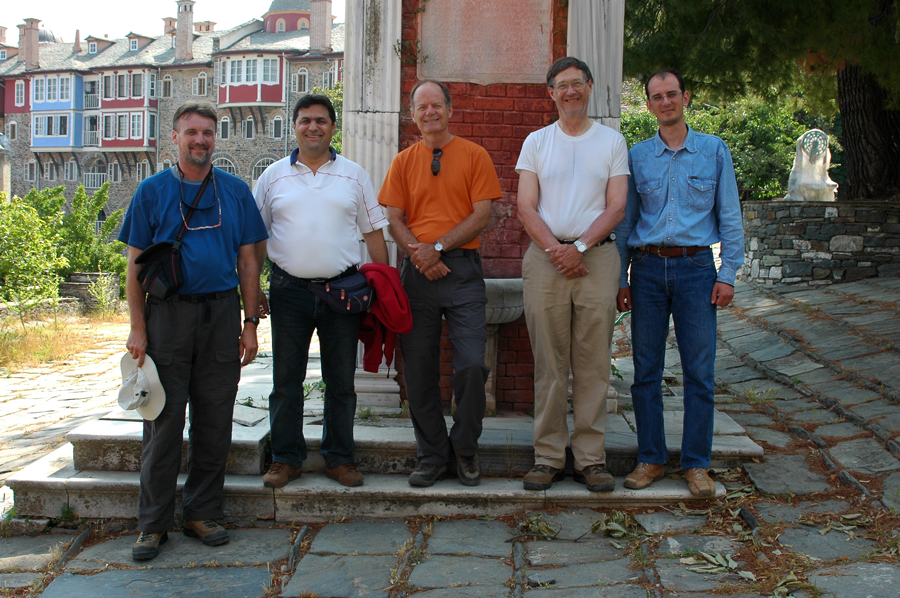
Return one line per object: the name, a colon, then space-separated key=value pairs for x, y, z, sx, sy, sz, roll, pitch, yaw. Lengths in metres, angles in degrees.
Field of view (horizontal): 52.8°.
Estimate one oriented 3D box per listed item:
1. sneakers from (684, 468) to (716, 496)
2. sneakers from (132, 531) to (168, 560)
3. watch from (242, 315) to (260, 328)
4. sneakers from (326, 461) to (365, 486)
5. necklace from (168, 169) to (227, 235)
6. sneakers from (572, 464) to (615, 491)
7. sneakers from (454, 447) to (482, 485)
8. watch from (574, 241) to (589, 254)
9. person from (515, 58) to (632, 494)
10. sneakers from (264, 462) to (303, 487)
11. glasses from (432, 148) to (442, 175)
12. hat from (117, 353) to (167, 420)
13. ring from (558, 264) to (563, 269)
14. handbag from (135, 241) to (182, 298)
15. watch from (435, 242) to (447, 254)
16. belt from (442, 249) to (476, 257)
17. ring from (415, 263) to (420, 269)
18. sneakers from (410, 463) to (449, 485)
sneakers: x=1.916 y=1.423 z=6.925 sx=0.244 sy=0.199 sz=0.189 roll=1 pitch=14 yaw=16
sneakers: x=-2.185 y=1.775 z=6.561 sx=0.177 sy=0.164 sz=0.284 roll=-2 pitch=14 yaw=4
watch: x=-1.506 y=0.164 z=6.850 sx=0.096 sy=0.048 sz=0.077 roll=-5 pitch=-1 yaw=10
sneakers: x=-0.807 y=1.355 z=6.987 sx=0.303 sy=0.127 sz=0.135 roll=2 pitch=4 yaw=36
necklace: x=-1.869 y=-0.702 z=6.614 sx=0.500 sy=0.639 sz=0.124 roll=-1 pitch=-13 yaw=-24
sneakers: x=1.109 y=1.387 z=6.948 sx=0.146 sy=0.122 sz=0.289 roll=0 pitch=-3 yaw=-24
sneakers: x=0.137 y=1.310 z=7.007 sx=0.175 sy=0.239 sz=0.187 roll=-4 pitch=14 yaw=-3
watch: x=0.978 y=-0.397 z=6.840 sx=0.071 sy=0.106 sz=0.103 roll=-18 pitch=2 yaw=-11
person: x=0.949 y=-0.183 z=6.908 sx=0.837 sy=3.243 sz=0.851 roll=-1 pitch=14 yaw=8
sneakers: x=-1.290 y=1.369 z=6.966 sx=0.125 sy=0.136 sz=0.314 roll=2 pitch=-8 yaw=24
glasses: x=-0.105 y=-1.088 z=7.060 sx=0.109 sy=0.173 sz=0.053 roll=0 pitch=-10 yaw=7
hat: x=-2.202 y=0.622 z=6.576 sx=0.335 sy=0.489 sz=0.209 roll=-2 pitch=5 yaw=13
ring: x=0.826 y=-0.249 z=6.812 sx=0.023 sy=0.023 sz=0.022 roll=31 pitch=-4 yaw=2
handbag: x=-2.084 y=-0.208 z=6.516 sx=0.304 sy=0.396 sz=0.154 roll=-8 pitch=14 yaw=-20
watch: x=-0.078 y=-0.403 z=6.925 sx=0.081 sy=0.089 sz=0.042 roll=-4 pitch=14 yaw=-4
belt: x=0.078 y=-0.367 z=6.991 sx=0.272 sy=0.073 sz=0.041 roll=-7 pitch=14 yaw=-18
ring: x=-0.247 y=-0.254 z=6.946 sx=0.013 sy=0.035 sz=0.027 roll=-5 pitch=0 yaw=-34
sneakers: x=-0.177 y=1.371 z=7.040 sx=0.327 sy=0.140 sz=0.115 roll=3 pitch=0 yaw=-35
